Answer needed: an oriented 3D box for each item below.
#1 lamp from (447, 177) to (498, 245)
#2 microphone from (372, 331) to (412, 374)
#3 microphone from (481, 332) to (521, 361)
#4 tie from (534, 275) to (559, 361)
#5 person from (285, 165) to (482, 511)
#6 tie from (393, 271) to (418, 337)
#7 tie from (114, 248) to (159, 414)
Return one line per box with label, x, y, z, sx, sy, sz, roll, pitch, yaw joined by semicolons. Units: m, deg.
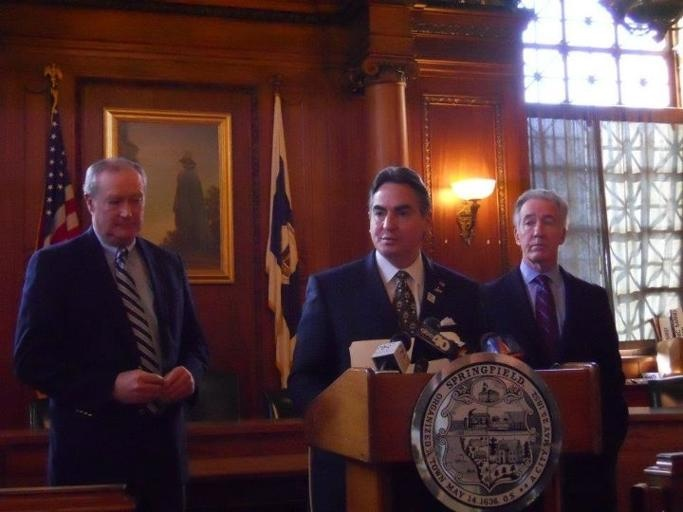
lamp;1.316;-0.416;6.820;0.404;0.591;0.441;-2;-2;21
microphone;0.147;0.300;2.083;0.103;0.090;0.122;-2;-1;10
microphone;0.490;0.280;2.116;0.121;0.074;0.266;-2;-1;10
tie;0.948;0.271;3.202;0.099;0.048;0.447;-12;-51;16
person;0.198;0.278;2.525;0.791;1.293;0.639;-1;-1;-16
tie;0.240;0.174;2.623;0.062;0.300;0.026;5;33;22
tie;-0.887;0.346;2.980;0.070;0.696;0.099;-20;-16;5
